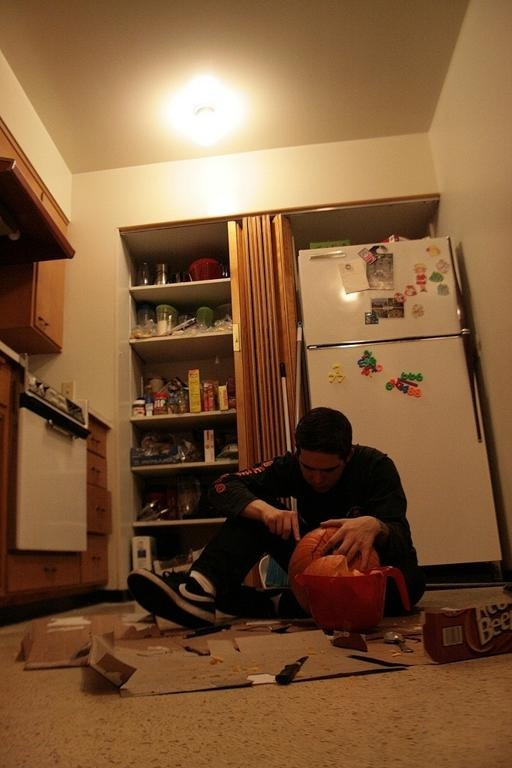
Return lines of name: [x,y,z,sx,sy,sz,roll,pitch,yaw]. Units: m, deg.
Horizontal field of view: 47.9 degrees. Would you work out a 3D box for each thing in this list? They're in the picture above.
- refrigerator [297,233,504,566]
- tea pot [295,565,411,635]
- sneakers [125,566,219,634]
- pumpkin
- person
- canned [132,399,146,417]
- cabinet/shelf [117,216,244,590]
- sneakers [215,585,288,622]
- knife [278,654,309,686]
refrigerator: [0.590,0.086,3.191,1.052,1.575,1.039,-4,3,20]
tea pot: [0.195,0.409,1.172,0.208,0.122,0.156,-2,-15,15]
sneakers: [-0.202,0.521,1.403,0.201,0.150,0.151,-5,-13,0]
pumpkin: [0.164,0.386,1.330,0.185,0.180,0.189,12,-10,1]
person: [0.097,0.356,1.589,0.815,0.570,0.504,4,-7,-30]
canned: [-0.681,0.143,3.371,0.087,0.098,0.089,0,-11,-4]
cabinet/shelf: [-0.500,0.030,3.505,0.610,1.739,0.392,3,16,-5]
sneakers: [-0.010,0.612,1.604,0.196,0.067,0.120,1,-2,-13]
knife: [0.051,0.391,0.797,0.019,0.010,0.094,-3,-11,11]
